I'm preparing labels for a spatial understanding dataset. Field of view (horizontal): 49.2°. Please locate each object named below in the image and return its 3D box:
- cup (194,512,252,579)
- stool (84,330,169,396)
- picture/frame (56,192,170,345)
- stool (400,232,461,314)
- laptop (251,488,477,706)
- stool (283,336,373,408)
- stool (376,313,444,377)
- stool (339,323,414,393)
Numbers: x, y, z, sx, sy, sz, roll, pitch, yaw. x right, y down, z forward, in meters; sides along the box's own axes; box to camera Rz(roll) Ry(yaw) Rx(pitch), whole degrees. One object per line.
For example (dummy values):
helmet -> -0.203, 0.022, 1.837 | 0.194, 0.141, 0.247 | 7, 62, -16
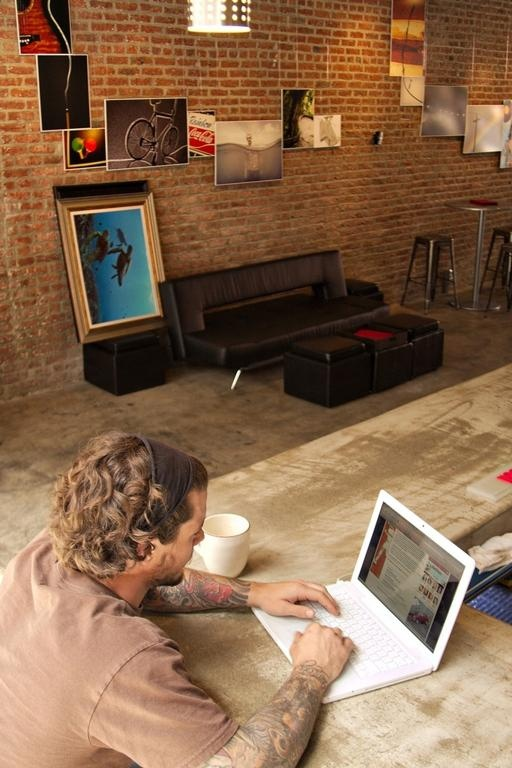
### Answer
cup -> -0.073, 0.397, 1.425 | 0.121, 0.132, 0.175 | -11, 17, -32
stool -> -1.191, -0.226, 5.069 | 0.616, 0.529, 0.607 | -15, 24, -35
picture/frame -> -1.316, -1.019, 4.955 | 1.119, 1.494, 0.143 | -19, 17, -40
stool -> 2.336, -1.508, 7.455 | 0.614, 0.887, 0.642 | -5, 24, -5
laptop -> 0.223, 0.403, 1.118 | 0.290, 0.198, 0.310 | -6, 14, -23
stool -> 0.645, -0.188, 4.788 | 0.632, 0.564, 0.615 | -14, 21, -39
stool -> 1.398, -0.472, 5.311 | 0.615, 0.553, 0.601 | -19, 27, -38
stool -> 1.086, -0.349, 5.122 | 0.605, 0.602, 0.591 | -18, 26, -36
